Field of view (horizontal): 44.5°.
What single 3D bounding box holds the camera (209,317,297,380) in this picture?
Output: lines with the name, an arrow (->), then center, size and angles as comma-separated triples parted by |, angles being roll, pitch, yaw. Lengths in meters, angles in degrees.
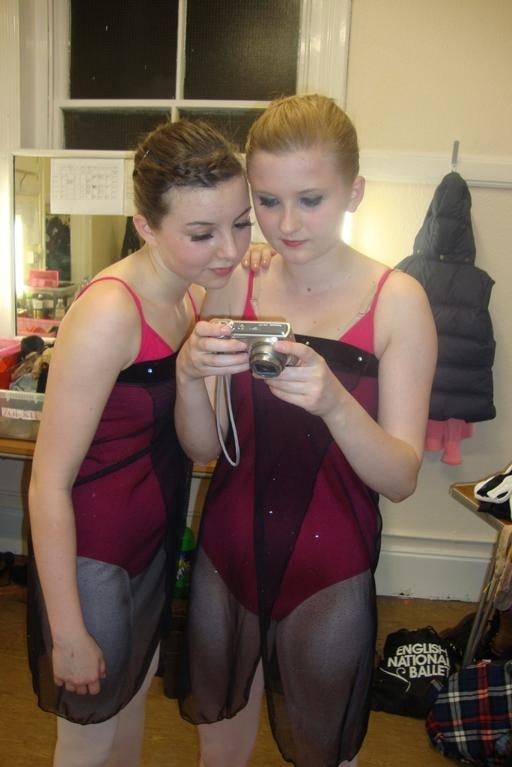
camera -> 0.005, -0.043, 0.942 | 0.115, 0.083, 0.050 | 0, -10, 9
